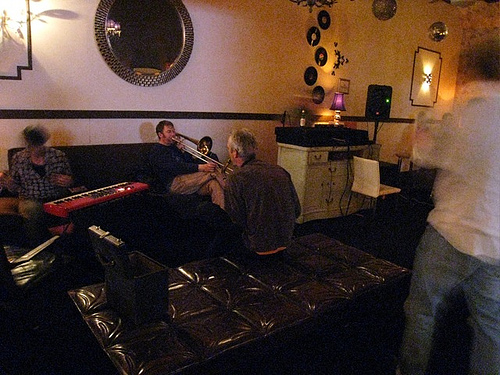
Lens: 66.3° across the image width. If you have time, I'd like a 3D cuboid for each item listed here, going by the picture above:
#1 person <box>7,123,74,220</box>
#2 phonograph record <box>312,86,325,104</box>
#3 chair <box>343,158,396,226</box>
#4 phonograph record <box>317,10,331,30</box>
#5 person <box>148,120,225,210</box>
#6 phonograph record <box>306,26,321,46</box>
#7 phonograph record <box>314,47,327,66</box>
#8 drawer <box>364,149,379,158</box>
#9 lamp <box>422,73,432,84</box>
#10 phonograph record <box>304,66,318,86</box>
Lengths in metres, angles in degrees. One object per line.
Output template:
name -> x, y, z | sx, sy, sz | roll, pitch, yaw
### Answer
person -> -1.976, -0.189, 3.644 | 0.553, 0.804, 0.602 | 12, 19, 41
phonograph record -> 1.036, -1.408, 5.808 | 0.053, 0.240, 0.235 | 12, -13, 32
chair -> 1.565, 0.080, 5.091 | 0.560, 0.961, 0.561 | -10, 24, -31
phonograph record -> 1.090, -2.442, 5.578 | 0.054, 0.235, 0.229 | 11, 27, 36
person -> -0.514, -0.269, 4.176 | 1.179, 0.741, 0.407 | 12, 20, 14
phonograph record -> 0.918, -2.173, 5.515 | 0.058, 0.266, 0.307 | 11, 18, 41
phonograph record -> 1.043, -1.926, 5.653 | 0.260, 0.253, 0.039 | -14, 19, -43
drawer -> 1.691, -0.477, 5.321 | 0.210, 0.152, 0.117 | -2, 6, -26
lamp -> 3.425, -2.116, 7.444 | 0.209, 0.214, 0.071 | 9, -1, -16
phonograph record -> 0.890, -1.643, 5.608 | 0.054, 0.245, 0.239 | 8, -17, 29
